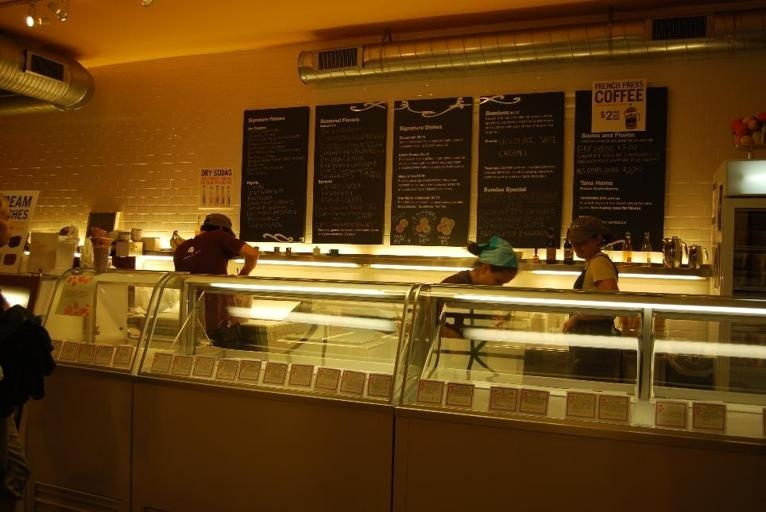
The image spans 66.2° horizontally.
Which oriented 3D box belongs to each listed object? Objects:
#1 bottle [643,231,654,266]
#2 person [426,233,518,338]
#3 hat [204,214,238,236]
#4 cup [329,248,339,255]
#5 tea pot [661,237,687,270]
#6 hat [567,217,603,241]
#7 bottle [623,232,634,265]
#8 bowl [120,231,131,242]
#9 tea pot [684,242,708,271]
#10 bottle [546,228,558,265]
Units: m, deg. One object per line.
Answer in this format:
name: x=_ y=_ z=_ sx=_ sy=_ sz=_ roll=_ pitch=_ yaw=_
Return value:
bottle: x=2.303 y=-0.071 z=5.133 sx=0.078 sy=0.278 sz=0.160 roll=2 pitch=-2 yaw=24
person: x=0.592 y=0.199 z=3.923 sx=0.432 sy=0.732 sz=0.531 roll=29 pitch=-18 yaw=-26
hat: x=-1.358 y=-0.269 z=4.941 sx=0.174 sy=0.125 sz=0.246 roll=-2 pitch=-10 yaw=30
cup: x=-0.502 y=-0.036 z=5.867 sx=0.071 sy=0.049 sz=0.056 roll=-1 pitch=-1 yaw=17
tea pot: x=2.478 y=-0.029 z=5.010 sx=0.188 sy=0.285 sz=0.259 roll=2 pitch=-2 yaw=23
hat: x=1.429 y=-0.186 z=4.180 sx=0.224 sy=0.110 sz=0.156 roll=3 pitch=-4 yaw=-38
bottle: x=2.151 y=-0.077 z=5.172 sx=0.077 sy=0.267 sz=0.144 roll=2 pitch=-2 yaw=26
bowl: x=-2.825 y=-0.200 z=6.413 sx=0.106 sy=0.071 sz=0.100 roll=-1 pitch=3 yaw=0
tea pot: x=2.607 y=0.015 z=4.899 sx=0.146 sy=0.204 sz=0.145 roll=3 pitch=-2 yaw=0
bottle: x=1.513 y=-0.087 z=5.278 sx=0.110 sy=0.319 sz=0.210 roll=2 pitch=-2 yaw=16
